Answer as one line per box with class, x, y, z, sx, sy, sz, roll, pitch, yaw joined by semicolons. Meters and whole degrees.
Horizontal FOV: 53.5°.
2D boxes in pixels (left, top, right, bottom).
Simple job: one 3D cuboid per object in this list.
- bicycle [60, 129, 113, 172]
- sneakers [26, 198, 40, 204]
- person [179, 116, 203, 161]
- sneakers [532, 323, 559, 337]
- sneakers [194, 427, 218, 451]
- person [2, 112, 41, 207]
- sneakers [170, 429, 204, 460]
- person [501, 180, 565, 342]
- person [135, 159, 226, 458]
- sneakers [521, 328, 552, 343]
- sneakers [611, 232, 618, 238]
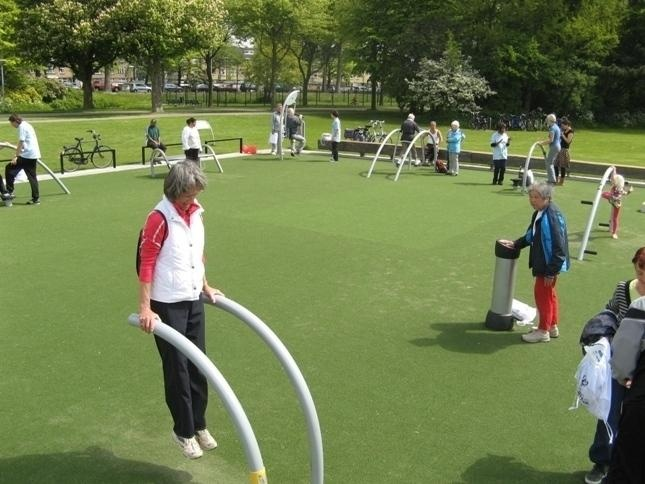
bicycle;-7.601;-2.877;20.363;1.874;1.201;0.782;-3;-5;14
sneakers;-6.525;-0.917;14.308;0.282;0.136;0.112;7;11;11
person;-3.619;-2.742;17.503;0.472;1.279;2.516;-2;15;-12
sneakers;2.875;1.151;8.202;0.380;0.173;0.149;1;7;14
sneakers;-1.087;1.852;5.982;0.124;0.118;0.268;-17;15;-41
person;-6.468;-1.751;13.708;0.707;2.009;1.172;-7;16;-28
sneakers;-1.284;1.862;5.902;0.347;0.167;0.137;13;16;35
person;2.704;0.266;7.906;0.675;2.012;0.525;10;17;31
person;-1.310;0.647;5.824;0.719;2.724;0.769;-2;14;-11
sneakers;2.705;1.192;8.079;0.336;0.164;0.158;0;8;7
sneakers;5.815;-0.130;12.676;0.067;0.070;0.174;2;22;16
